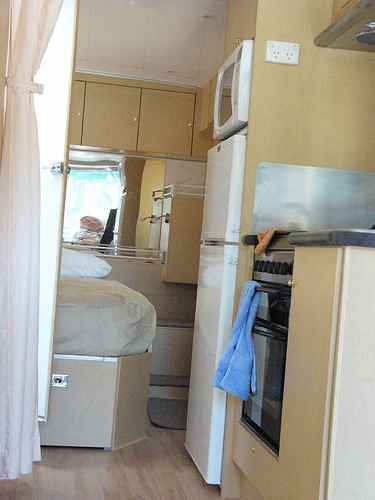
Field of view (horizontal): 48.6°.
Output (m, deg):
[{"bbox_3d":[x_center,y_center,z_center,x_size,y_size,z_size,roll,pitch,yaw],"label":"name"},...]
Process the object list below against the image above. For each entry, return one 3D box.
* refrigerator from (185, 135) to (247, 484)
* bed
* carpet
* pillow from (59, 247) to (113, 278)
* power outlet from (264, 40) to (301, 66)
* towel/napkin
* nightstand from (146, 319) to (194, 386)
[{"bbox_3d":[0.114,0.239,1.852,0.373,1.340,0.353,-3,5,-7],"label":"refrigerator"},{"bbox_3d":[-0.418,0.503,2.343,0.668,0.687,0.951,1,-1,-6],"label":"bed"},{"bbox_3d":[-0.111,1.000,2.598,0.379,0.095,0.397,1,0,11],"label":"carpet"},{"bbox_3d":[-0.764,0.082,3.297,0.526,0.206,0.435,4,2,-11],"label":"pillow"},{"bbox_3d":[0.387,-0.802,1.690,0.146,0.089,0.024,6,-4,-10],"label":"power outlet"},{"bbox_3d":[0.164,0.301,1.442,0.166,0.382,0.184,-1,6,-15],"label":"towel/napkin"},{"bbox_3d":[-0.147,0.844,3.446,0.336,0.460,0.356,2,4,-5],"label":"nightstand"}]
